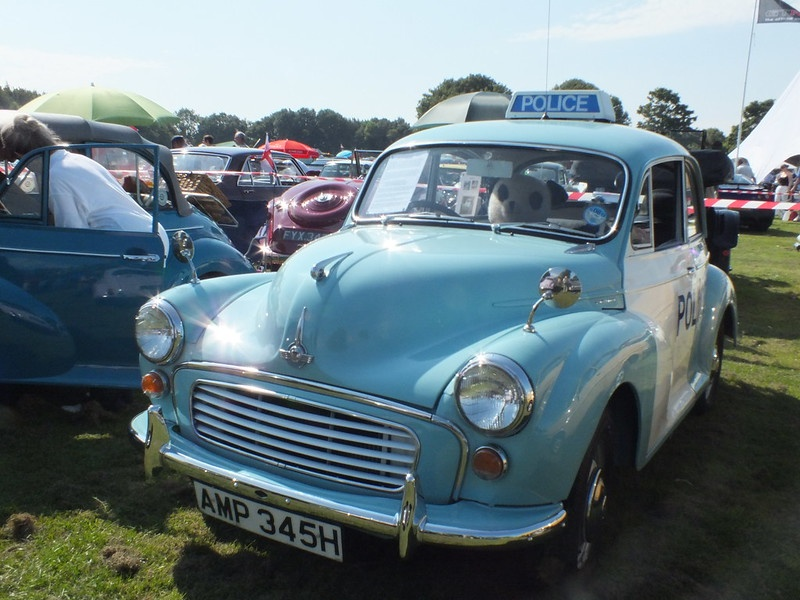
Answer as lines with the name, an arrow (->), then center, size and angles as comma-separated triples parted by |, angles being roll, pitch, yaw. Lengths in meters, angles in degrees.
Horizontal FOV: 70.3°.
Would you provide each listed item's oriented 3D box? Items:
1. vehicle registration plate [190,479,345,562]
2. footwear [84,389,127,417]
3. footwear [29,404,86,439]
vehicle registration plate -> -0.582, 1.015, 2.587 | 0.717, 0.191, 0.029 | 7, 17, 20
footwear -> -2.175, 0.739, 4.233 | 0.295, 0.102, 0.237 | 12, 33, 18
footwear -> -2.504, 0.895, 4.167 | 0.299, 0.087, 0.299 | 29, 14, 37
